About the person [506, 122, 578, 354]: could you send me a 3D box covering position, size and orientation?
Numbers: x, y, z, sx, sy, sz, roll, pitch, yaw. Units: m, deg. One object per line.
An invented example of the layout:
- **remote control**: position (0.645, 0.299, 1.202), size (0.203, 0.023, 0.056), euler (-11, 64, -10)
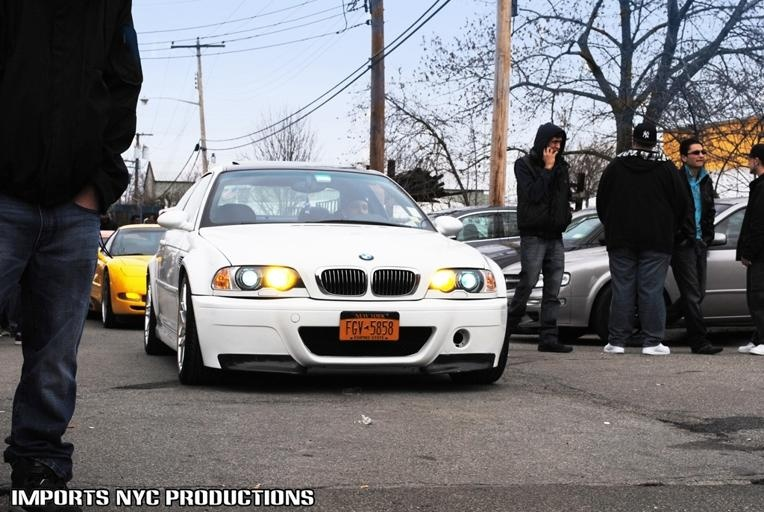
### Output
- **person**: position (1.922, -0.219, 8.405), size (0.734, 2.698, 0.611), euler (0, 2, 9)

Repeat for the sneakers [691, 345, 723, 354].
- **sneakers**: position (3.949, 1.112, 8.451), size (0.344, 0.114, 0.217), euler (0, 2, 17)

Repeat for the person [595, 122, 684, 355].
- **person**: position (3.116, -0.069, 8.382), size (1.023, 2.419, 0.449), euler (0, 2, 19)

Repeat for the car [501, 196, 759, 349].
- **car**: position (3.376, 0.169, 9.645), size (3.732, 1.255, 1.604), euler (0, 0, -17)

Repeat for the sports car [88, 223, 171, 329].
- **sports car**: position (-4.564, 0.275, 12.819), size (1.776, 1.408, 4.168), euler (1, -1, -22)

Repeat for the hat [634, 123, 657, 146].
- **hat**: position (3.216, -1.460, 8.609), size (0.311, 0.258, 0.469), euler (6, 3, 7)

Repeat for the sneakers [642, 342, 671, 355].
- **sneakers**: position (3.287, 1.091, 8.271), size (0.333, 0.158, 0.135), euler (-1, 5, -8)

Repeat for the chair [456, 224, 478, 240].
- **chair**: position (1.666, -0.436, 13.367), size (0.372, 0.386, 0.353), euler (1, -6, 4)

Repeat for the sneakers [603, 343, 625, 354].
- **sneakers**: position (2.796, 1.108, 8.396), size (0.105, 0.115, 0.265), euler (1, 6, -11)

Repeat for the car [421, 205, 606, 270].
- **car**: position (2.122, -0.341, 13.084), size (2.595, 0.884, 1.117), euler (-4, 5, -19)
